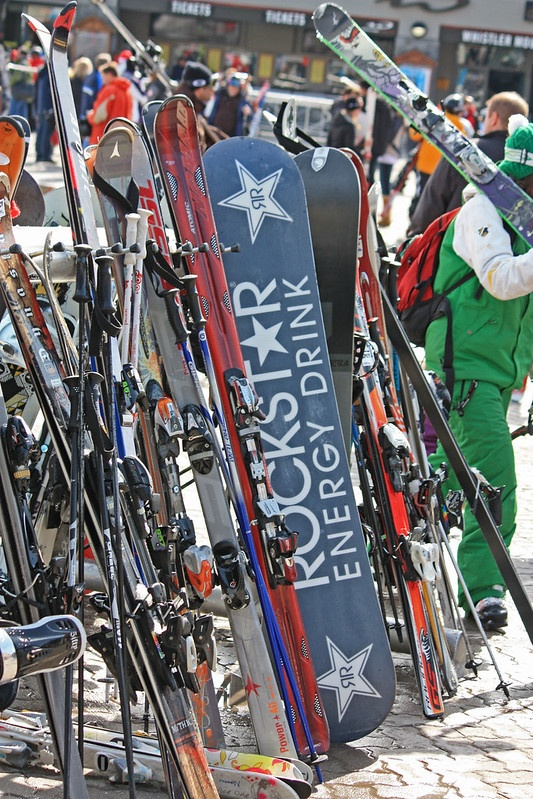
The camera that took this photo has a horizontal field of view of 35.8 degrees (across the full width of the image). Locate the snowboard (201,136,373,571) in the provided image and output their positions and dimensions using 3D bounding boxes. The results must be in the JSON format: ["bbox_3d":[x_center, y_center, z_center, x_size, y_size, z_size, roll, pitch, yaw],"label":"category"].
[{"bbox_3d":[0.023,-0.161,2.560,0.345,1.449,0.213,-11,-3,-13],"label":"snowboard"}]

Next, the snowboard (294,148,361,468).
[{"bbox_3d":[0.196,-0.289,2.572,0.208,0.932,0.140,-1,0,10],"label":"snowboard"}]

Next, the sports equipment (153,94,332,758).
[{"bbox_3d":[-0.059,0.084,2.133,0.211,1.863,0.223,-8,-7,-41],"label":"sports equipment"}]
